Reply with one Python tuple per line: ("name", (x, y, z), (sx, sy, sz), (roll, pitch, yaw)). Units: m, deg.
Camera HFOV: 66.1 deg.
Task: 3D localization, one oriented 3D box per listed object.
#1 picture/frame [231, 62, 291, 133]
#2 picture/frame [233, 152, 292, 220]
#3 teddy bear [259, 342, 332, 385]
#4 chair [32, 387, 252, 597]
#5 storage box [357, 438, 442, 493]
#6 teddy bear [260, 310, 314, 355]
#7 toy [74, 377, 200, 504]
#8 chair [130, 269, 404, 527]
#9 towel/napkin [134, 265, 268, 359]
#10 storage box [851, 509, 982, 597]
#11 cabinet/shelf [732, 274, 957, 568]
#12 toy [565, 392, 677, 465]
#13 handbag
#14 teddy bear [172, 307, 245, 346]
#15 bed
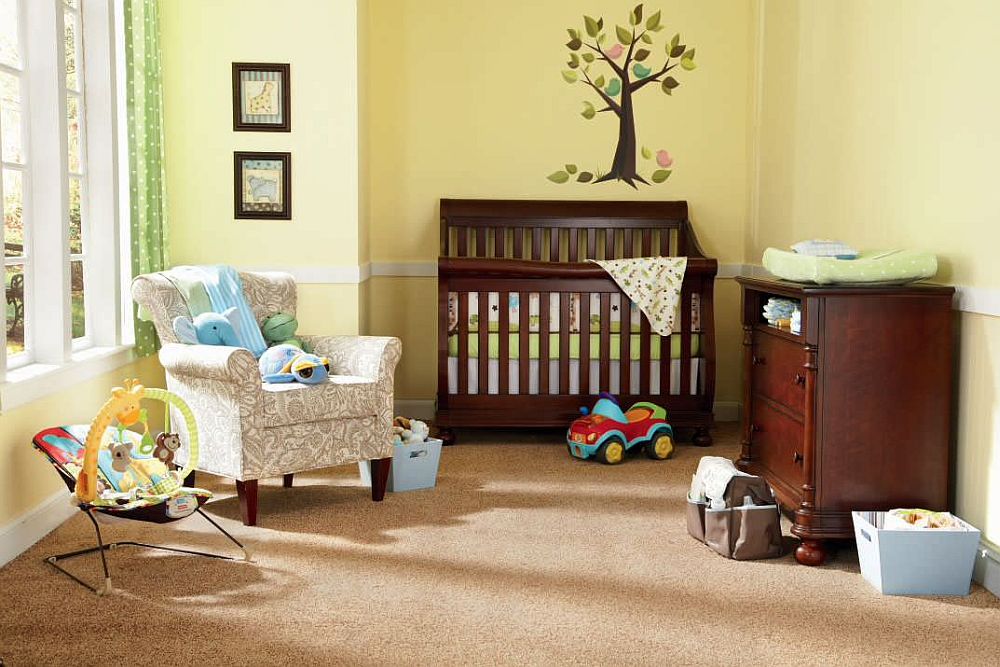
("picture/frame", (-1.315, -1.305, 4.214), (0.375, 0.429, 0.030), (0, 4, -4))
("picture/frame", (-1.320, -0.831, 4.249), (0.367, 0.432, 0.031), (0, 3, -6))
("teddy bear", (-0.922, 0.143, 3.464), (0.209, 0.085, 0.216), (3, 5, 20))
("chair", (-1.385, 0.527, 2.990), (0.731, 0.681, 0.609), (4, 4, 43))
("storage box", (-0.497, 0.629, 3.800), (0.312, 0.226, 0.369), (-2, 3, -44))
("teddy bear", (-1.055, -0.006, 3.783), (0.160, 0.210, 0.093), (-28, 3, -33))
("toy", (-1.357, 0.406, 2.914), (0.320, 0.447, 0.462), (8, 6, 38))
("chair", (-1.122, 0.236, 3.662), (1.101, 1.083, 1.170), (1, 2, 20))
("towel/napkin", (-1.321, -0.136, 3.555), (0.378, 0.466, 0.145), (-4, -30, -43))
("storage box", (1.487, 0.775, 2.788), (0.362, 0.221, 0.285), (2, -8, -9))
("cabinet/shelf", (1.496, 0.308, 3.441), (0.662, 1.046, 1.074), (-1, 5, 4))
("toy", (0.654, 0.502, 4.121), (0.489, 0.303, 0.337), (1, -2, -13))
("handbag", (0.958, 0.730, 3.213), (0.260, 0.340, 0.491), (0, -5, -8))
("teddy bear", (-1.306, 0.032, 3.447), (0.150, 0.174, 0.264), (-13, -10, 33))
("bed", (0.427, 0.006, 4.754), (1.665, 1.397, 1.007), (0, -9, 5))
